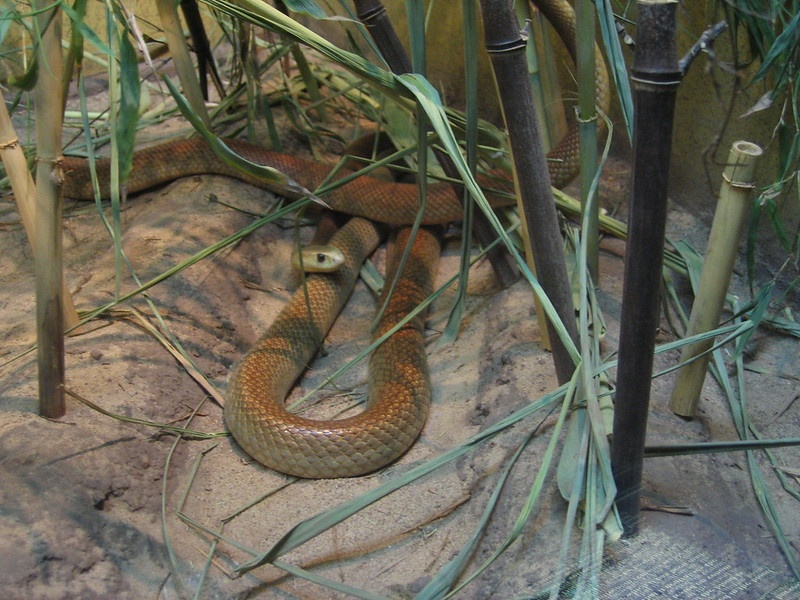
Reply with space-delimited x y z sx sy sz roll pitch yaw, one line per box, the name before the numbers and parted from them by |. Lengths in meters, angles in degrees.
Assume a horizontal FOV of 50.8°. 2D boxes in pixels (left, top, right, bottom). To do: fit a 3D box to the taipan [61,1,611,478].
taipan | -0.255 -0.432 2.861 1.484 1.043 1.799 -27 42 -33
